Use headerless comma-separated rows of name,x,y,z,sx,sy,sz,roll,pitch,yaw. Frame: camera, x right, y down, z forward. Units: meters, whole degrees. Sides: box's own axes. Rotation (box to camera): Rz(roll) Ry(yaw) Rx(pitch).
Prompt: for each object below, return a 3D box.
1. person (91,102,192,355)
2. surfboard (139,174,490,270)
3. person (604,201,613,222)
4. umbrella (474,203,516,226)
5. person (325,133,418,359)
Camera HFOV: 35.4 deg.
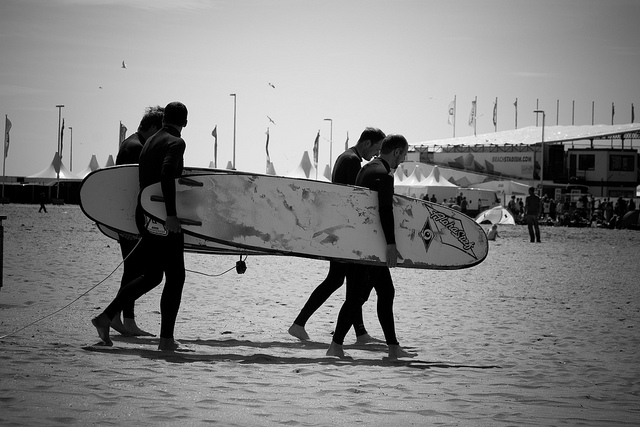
person,-2.412,-0.369,13.247,0.730,2.205,0.707,-16,-32,32
surfboard,-0.073,0.136,13.107,4.687,1.075,0.396,7,-26,-6
person,11.949,-0.029,41.386,0.300,0.795,1.000,4,7,14
umbrella,6.771,0.140,38.337,1.324,0.629,1.793,3,1,17
person,0.755,0.437,12.937,1.037,2.856,0.636,3,7,3
